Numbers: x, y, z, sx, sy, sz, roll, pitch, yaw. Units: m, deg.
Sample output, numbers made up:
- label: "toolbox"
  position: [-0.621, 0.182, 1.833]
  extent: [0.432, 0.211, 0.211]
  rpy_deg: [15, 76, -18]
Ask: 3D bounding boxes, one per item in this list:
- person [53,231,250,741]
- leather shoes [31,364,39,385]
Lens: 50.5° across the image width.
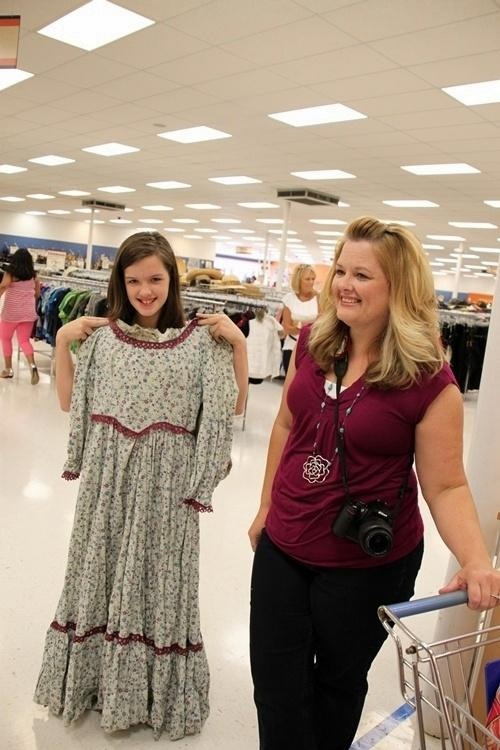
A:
- label: "person"
  position: [-0.305, 0.330, 1.536]
  extent: [0.559, 1.463, 0.295]
  rpy_deg: [6, 7, -18]
- label: "leather shoes"
  position: [-2.676, -0.033, 6.633]
  extent: [0.095, 0.243, 0.305]
  rpy_deg: [6, 7, -21]
